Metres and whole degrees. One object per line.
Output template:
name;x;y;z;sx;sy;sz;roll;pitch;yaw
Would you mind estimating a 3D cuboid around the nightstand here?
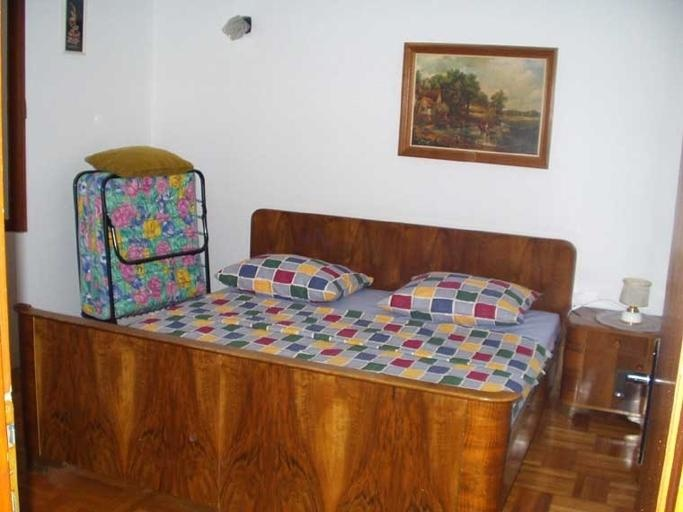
nightstand;1.632;0.590;3.933;0.537;0.580;0.424;4;25;19
